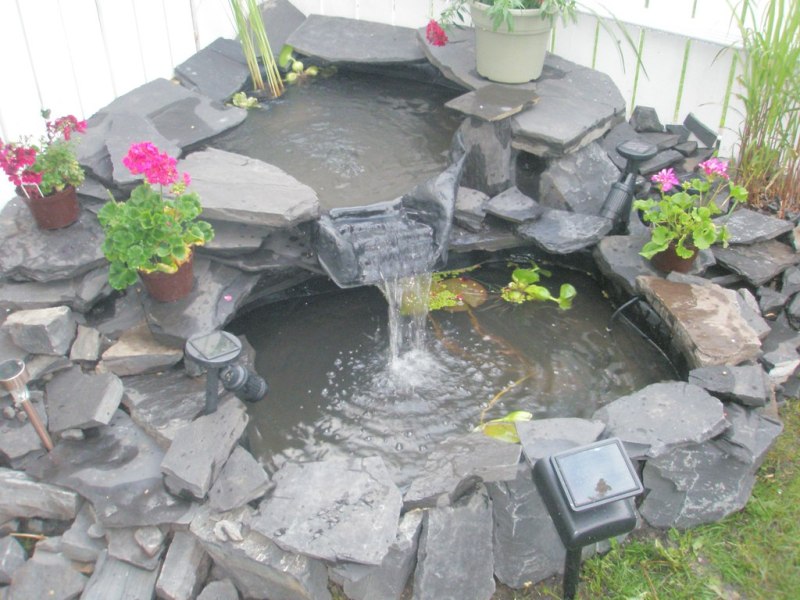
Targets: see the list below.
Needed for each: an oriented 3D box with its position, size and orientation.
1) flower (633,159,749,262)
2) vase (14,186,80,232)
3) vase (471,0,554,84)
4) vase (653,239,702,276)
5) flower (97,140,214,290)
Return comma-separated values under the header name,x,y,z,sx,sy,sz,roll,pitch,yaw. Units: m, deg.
name,x,y,z,sx,sy,sz,roll,pitch,yaw
flower,2.500,-0.736,5.245,0.700,0.617,0.587,-24,62,-6
vase,-2.825,-0.707,4.896,0.378,0.280,0.384,-2,11,-27
vase,1.026,-2.409,5.799,0.620,0.479,0.634,21,45,20
vase,2.310,-0.354,5.122,0.261,0.193,0.266,30,51,30
flower,-1.849,-0.590,4.617,0.717,1.066,0.760,21,35,18
